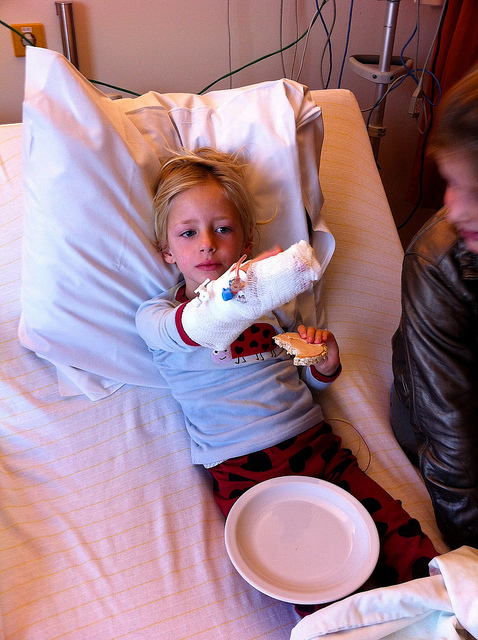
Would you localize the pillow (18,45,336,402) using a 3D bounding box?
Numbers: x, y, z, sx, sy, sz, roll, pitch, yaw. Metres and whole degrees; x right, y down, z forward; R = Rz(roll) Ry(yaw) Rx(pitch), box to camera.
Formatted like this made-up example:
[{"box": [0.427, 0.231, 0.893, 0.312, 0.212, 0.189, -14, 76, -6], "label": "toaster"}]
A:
[{"box": [-0.208, -0.196, 1.022, 0.780, 0.719, 0.225, 0, 2, -21], "label": "pillow"}]

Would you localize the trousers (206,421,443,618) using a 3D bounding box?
[{"box": [0.157, 0.321, 0.908, 0.244, 0.091, 0.299, -10, 40, -31], "label": "trousers"}]

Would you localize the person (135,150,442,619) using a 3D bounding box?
[{"box": [0.070, 0.131, 0.945, 0.275, 0.383, 0.782, -20, 68, -16], "label": "person"}]
